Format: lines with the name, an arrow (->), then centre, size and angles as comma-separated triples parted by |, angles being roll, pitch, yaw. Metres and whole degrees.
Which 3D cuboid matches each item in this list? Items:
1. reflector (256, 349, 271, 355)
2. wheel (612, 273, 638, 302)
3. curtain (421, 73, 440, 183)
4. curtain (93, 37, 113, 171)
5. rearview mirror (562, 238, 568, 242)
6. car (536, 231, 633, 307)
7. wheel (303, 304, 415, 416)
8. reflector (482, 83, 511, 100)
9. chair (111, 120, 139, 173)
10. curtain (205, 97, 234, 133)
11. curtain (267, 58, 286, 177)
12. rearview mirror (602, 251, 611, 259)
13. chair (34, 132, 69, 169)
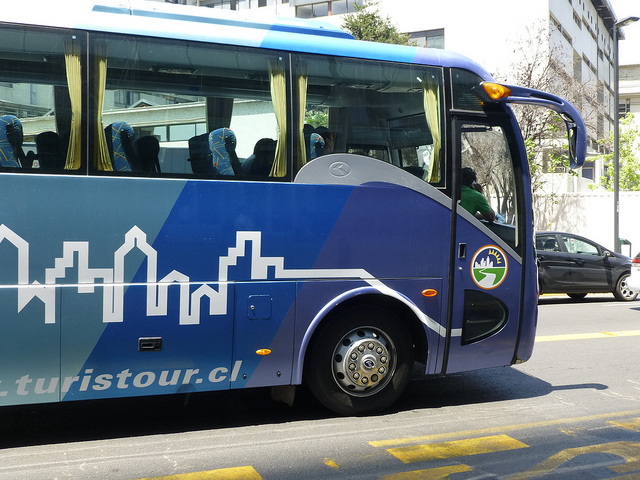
reflector -> -0.602, 1.169, 7.209 | 0.105, 0.061, 0.014 | 6, 0, -17
wheel -> 7.052, 1.063, 15.934 | 0.561, 0.645, 0.212 | 10, -4, -10
curtain -> 1.275, -1.202, 7.744 | 0.089, 0.909, 0.172 | -10, 2, 45
curtain -> -2.169, -1.359, 6.848 | 0.165, 1.316, 0.187 | -1, 5, -19
rearview mirror -> 5.733, 0.000, 16.111 | 0.130, 0.086, 0.054 | -2, 5, -24
car -> 5.998, 0.620, 16.410 | 2.423, 1.340, 1.397 | -2, -2, -10
wheel -> 0.410, 1.278, 7.532 | 1.067, 1.223, 0.426 | -2, 2, -18
reflector -> 2.009, -1.717, 7.876 | 0.230, 0.101, 0.177 | 10, -32, -7
chair -> -1.957, -0.914, 6.888 | 0.237, 0.472, 0.150 | -2, 5, -24
curtain -> -1.050, -1.325, 7.144 | 0.277, 0.311, 0.069 | -1, 5, -17
curtain -> -0.456, -1.297, 7.259 | 0.191, 1.243, 0.179 | 0, 4, -6
rearview mirror -> 6.716, 0.340, 16.144 | 0.125, 0.196, 0.177 | -4, 44, 18
chair -> -2.620, -0.867, 6.731 | 0.293, 0.429, 0.319 | -1, 2, -27
